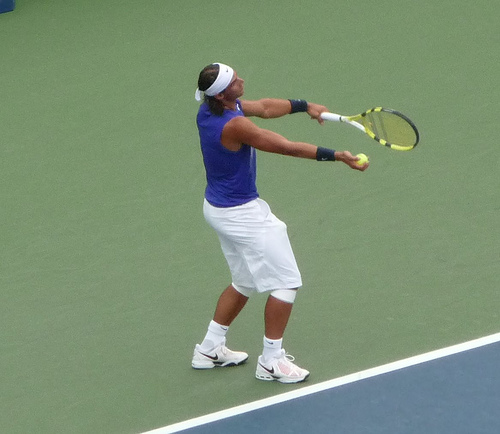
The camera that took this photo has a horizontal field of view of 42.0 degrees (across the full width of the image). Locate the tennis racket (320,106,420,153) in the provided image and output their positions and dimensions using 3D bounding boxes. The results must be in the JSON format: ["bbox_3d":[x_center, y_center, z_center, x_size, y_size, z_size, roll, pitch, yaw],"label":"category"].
[{"bbox_3d":[0.773,-0.664,4.669,0.958,0.070,0.298,3,68,-26],"label":"tennis racket"}]

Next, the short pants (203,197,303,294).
[{"bbox_3d":[0.041,0.204,4.660,0.319,0.649,0.720,-28,36,-37],"label":"short pants"}]

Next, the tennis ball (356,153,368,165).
[{"bbox_3d":[0.760,-0.397,4.384,0.064,0.060,0.078,11,33,27],"label":"tennis ball"}]

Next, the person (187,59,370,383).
[{"bbox_3d":[0.220,-0.009,4.955,1.181,2.355,1.063,0,16,2],"label":"person"}]
